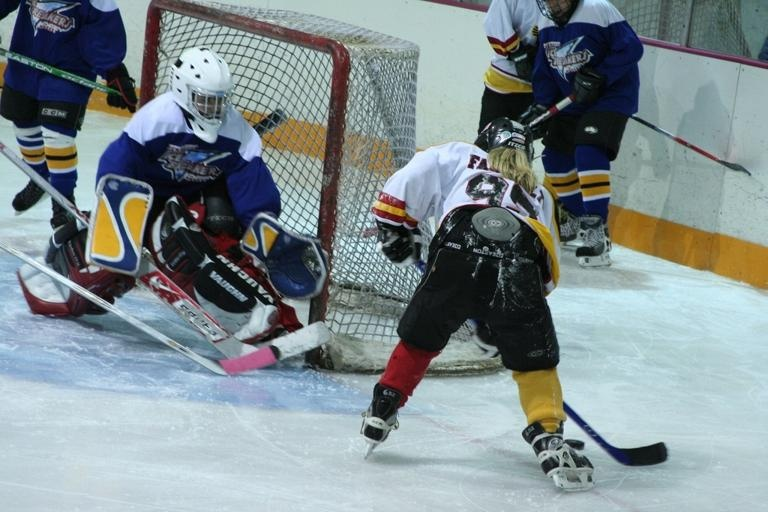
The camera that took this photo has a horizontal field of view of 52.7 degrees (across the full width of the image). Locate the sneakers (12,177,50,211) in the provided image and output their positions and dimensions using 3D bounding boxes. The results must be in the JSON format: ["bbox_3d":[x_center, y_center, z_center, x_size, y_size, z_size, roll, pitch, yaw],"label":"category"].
[{"bbox_3d":[-2.185,-0.358,4.595,0.157,0.170,0.421,31,2,-10],"label":"sneakers"}]

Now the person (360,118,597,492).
[{"bbox_3d":[0.376,0.124,2.786,0.923,1.210,0.636,7,13,0],"label":"person"}]

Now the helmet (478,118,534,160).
[{"bbox_3d":[0.451,-0.444,2.960,0.165,0.190,0.193,7,29,-7],"label":"helmet"}]

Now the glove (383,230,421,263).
[{"bbox_3d":[0.062,-0.030,2.977,0.134,0.123,0.047,5,20,24],"label":"glove"}]

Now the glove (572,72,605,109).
[{"bbox_3d":[1.236,-1.000,4.580,0.155,0.200,0.085,24,38,-2],"label":"glove"}]

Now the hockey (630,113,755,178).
[{"bbox_3d":[2.086,-0.723,5.032,0.917,0.045,0.078,37,19,35],"label":"hockey"}]

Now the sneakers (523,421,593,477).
[{"bbox_3d":[0.609,0.668,2.708,0.151,0.097,0.225,10,34,-35],"label":"sneakers"}]
